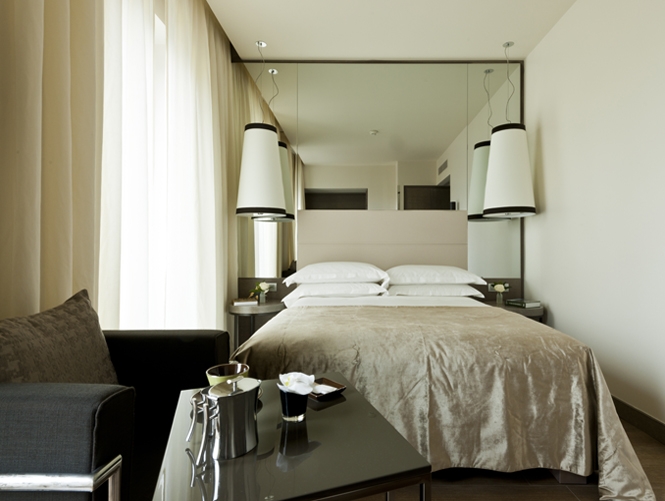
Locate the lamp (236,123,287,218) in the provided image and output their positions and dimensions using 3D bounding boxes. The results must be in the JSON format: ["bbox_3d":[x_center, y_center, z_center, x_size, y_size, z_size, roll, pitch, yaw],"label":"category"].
[{"bbox_3d":[-0.600,-0.690,4.703,0.403,0.762,0.238,0,6,-10],"label":"lamp"}]

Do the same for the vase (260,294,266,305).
[{"bbox_3d":[-0.613,0.425,4.917,0.065,0.122,0.065,0,0,-8],"label":"vase"}]

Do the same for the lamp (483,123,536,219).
[{"bbox_3d":[1.533,-0.702,4.872,0.420,0.737,0.418,-3,1,-20],"label":"lamp"}]

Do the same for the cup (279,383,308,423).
[{"bbox_3d":[-0.153,0.602,2.248,0.144,0.137,0.141,2,-9,0],"label":"cup"}]

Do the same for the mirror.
[{"bbox_3d":[0.414,-0.754,5.119,1.976,1.435,0.042,0,-2,-3],"label":"mirror"}]

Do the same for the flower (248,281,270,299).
[{"bbox_3d":[-0.647,0.354,4.932,0.150,0.064,0.155,-11,-3,24],"label":"flower"}]
